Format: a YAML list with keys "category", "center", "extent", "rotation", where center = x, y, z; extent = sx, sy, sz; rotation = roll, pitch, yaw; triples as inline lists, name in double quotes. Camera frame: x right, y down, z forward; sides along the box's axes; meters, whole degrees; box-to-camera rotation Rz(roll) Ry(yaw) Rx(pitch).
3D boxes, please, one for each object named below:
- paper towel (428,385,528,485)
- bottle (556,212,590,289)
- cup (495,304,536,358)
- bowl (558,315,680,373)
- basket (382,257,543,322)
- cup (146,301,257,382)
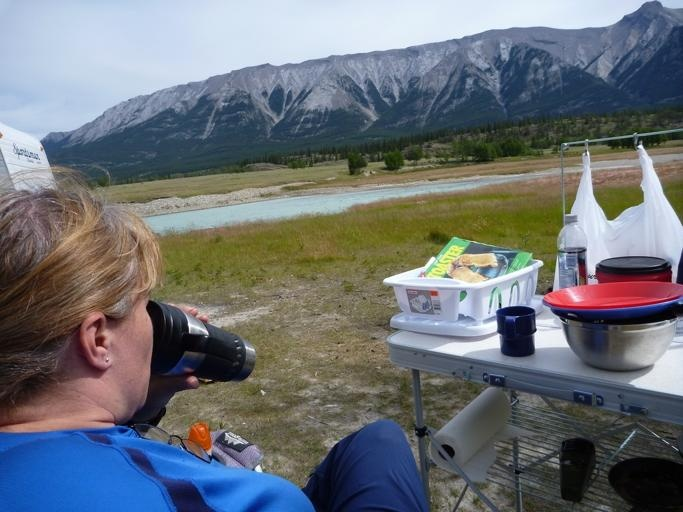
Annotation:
- category: "paper towel"
  center: [0.698, 0.968, 2.836]
  extent: [0.474, 0.200, 0.596]
  rotation: [13, 20, 32]
- category: "bottle"
  center: [1.262, -0.037, 2.877]
  extent: [0.197, 0.403, 0.197]
  rotation: [0, 11, 0]
- category: "cup"
  center: [0.791, 0.339, 2.374]
  extent: [0.150, 0.168, 0.241]
  rotation: [2, 17, 23]
- category: "bowl"
  center: [1.069, 0.313, 2.218]
  extent: [0.500, 0.211, 0.523]
  rotation: [-2, 9, 0]
- category: "basket"
  center: [0.610, 0.102, 2.980]
  extent: [0.824, 0.310, 0.771]
  rotation: [11, 12, 39]
- category: "cup"
  center: [-0.583, 0.323, 2.162]
  extent: [0.482, 0.345, 0.353]
  rotation: [0, 8, -24]
